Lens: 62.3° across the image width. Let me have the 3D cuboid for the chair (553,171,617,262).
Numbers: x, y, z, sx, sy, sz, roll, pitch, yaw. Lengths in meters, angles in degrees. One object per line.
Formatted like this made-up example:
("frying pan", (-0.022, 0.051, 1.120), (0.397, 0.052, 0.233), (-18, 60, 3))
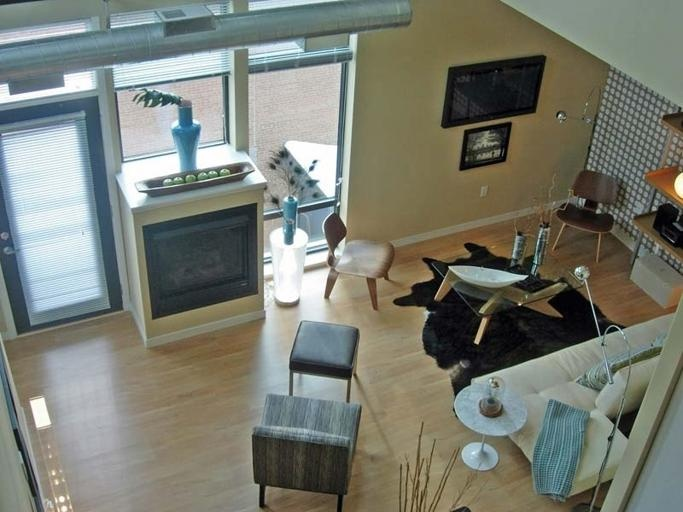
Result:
("chair", (3.315, -0.497, 7.630), (0.766, 1.077, 0.767), (21, 59, 19))

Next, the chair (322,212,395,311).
("chair", (0.207, 0.010, 6.775), (0.811, 0.986, 0.671), (2, 26, 7))

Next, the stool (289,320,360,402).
("stool", (-0.118, 0.943, 5.726), (0.733, 0.781, 0.727), (8, 47, 5))

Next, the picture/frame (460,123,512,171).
("picture/frame", (1.869, -1.452, 7.423), (0.620, 0.503, 0.044), (-13, 40, -17))

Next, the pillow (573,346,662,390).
("pillow", (2.583, 1.090, 5.218), (0.682, 0.484, 0.352), (3, 26, 8))

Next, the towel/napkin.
("towel/napkin", (1.887, 1.660, 4.901), (0.410, 0.106, 0.868), (12, 61, 29))

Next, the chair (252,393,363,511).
("chair", (-0.247, 1.545, 4.884), (0.870, 0.899, 0.867), (8, 40, 7))

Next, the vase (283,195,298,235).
("vase", (-0.575, -0.461, 6.358), (0.154, 0.404, 0.241), (-4, 26, -6))
